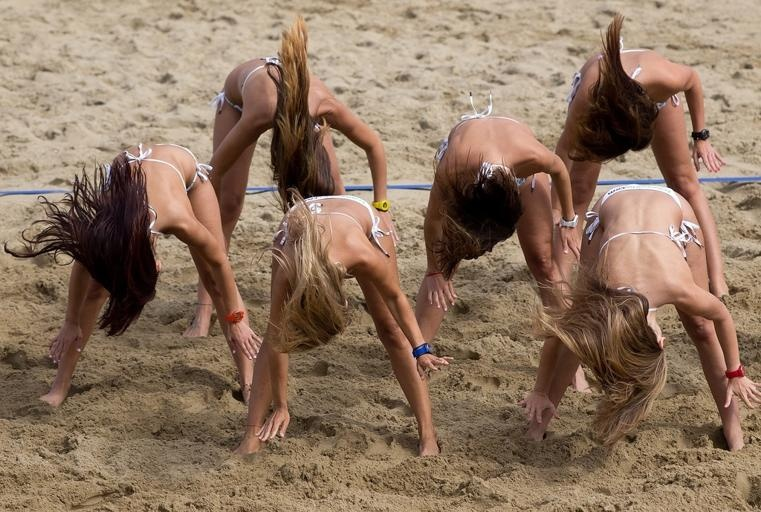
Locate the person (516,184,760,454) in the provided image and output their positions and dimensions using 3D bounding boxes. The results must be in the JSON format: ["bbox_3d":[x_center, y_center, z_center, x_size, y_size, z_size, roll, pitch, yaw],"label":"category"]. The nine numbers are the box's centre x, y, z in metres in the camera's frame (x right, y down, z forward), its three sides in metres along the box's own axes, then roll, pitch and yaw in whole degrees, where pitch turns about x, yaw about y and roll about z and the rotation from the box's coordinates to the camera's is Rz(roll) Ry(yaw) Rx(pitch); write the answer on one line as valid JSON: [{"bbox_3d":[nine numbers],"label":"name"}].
[{"bbox_3d":[1.926,0.477,8.289,1.556,1.961,0.847,-3,-12,19],"label":"person"}]

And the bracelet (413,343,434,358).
[{"bbox_3d":[0.304,0.682,8.392,0.129,0.086,0.133,-1,-20,-44],"label":"bracelet"}]

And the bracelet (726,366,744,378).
[{"bbox_3d":[2.614,0.875,8.541,0.106,0.063,0.106,-18,6,15],"label":"bracelet"}]

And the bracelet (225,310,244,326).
[{"bbox_3d":[-1.106,0.477,8.907,0.111,0.063,0.098,-7,5,24],"label":"bracelet"}]
